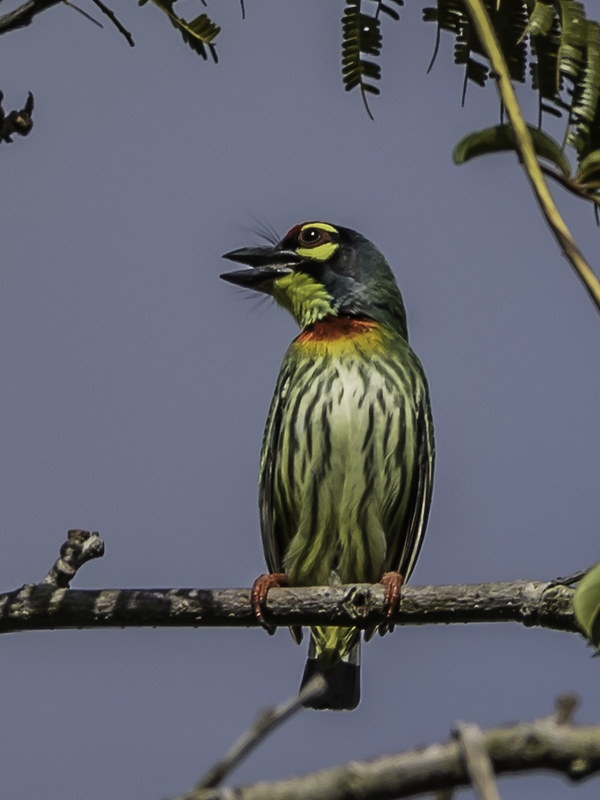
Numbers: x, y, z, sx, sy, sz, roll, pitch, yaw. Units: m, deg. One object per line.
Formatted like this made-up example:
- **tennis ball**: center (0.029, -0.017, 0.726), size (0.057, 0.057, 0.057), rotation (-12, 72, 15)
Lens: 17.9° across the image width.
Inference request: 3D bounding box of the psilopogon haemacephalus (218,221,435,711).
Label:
- **psilopogon haemacephalus**: center (0.106, -0.056, 6.554), size (0.633, 1.328, 0.569), rotation (-12, -46, 4)
